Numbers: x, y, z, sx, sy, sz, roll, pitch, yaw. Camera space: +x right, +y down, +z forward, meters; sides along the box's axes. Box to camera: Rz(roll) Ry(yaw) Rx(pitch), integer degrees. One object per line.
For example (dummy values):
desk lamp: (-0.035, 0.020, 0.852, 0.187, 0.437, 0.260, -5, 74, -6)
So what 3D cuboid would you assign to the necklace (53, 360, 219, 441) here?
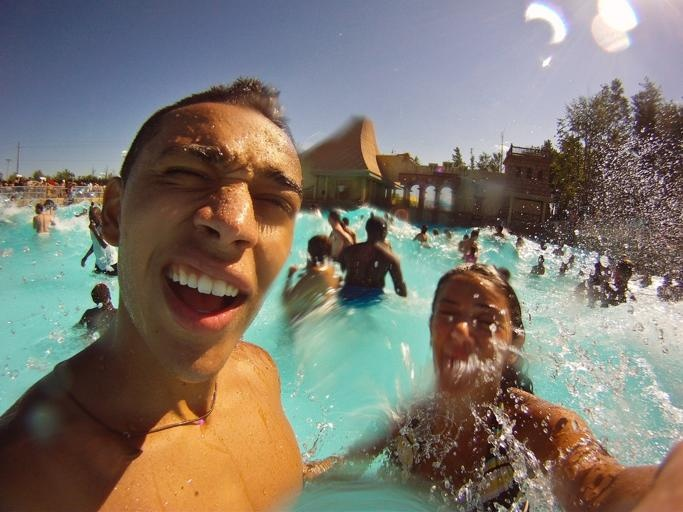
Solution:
necklace: (-0.784, 0.506, 1.678, 0.391, 0.095, 0.401, 38, 20, 3)
